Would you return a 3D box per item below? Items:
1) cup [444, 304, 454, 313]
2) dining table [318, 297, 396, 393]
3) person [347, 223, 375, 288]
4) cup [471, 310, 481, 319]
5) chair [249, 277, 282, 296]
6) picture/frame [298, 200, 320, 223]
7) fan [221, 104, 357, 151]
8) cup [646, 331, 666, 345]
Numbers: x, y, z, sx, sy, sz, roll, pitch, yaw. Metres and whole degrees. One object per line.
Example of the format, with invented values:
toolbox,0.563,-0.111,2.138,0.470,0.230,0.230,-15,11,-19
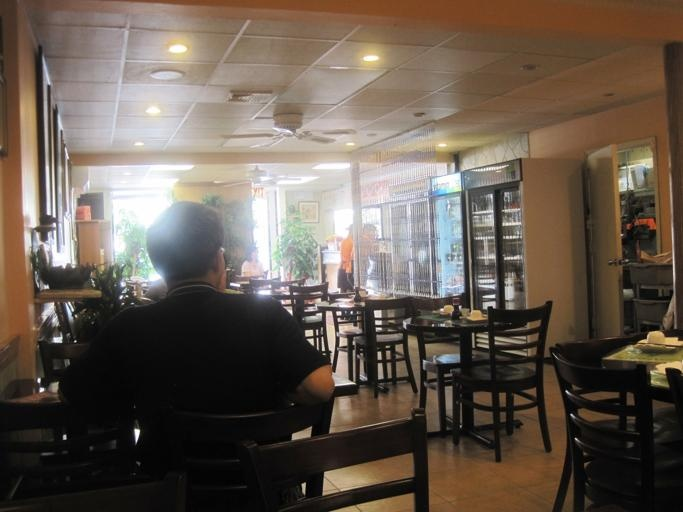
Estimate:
cup,0.953,0.466,5.038,0.062,0.048,0.062,-7,17,2
dining table,0.165,1.026,6.878,1.040,0.980,0.968,0,-1,-27
person,0.308,-0.011,9.827,0.384,1.091,1.106,-4,4,-9
cup,1.137,0.487,4.762,0.070,0.050,0.067,1,5,0
chair,-1.130,0.443,8.345,0.377,0.451,0.338,0,4,-4
picture/frame,-1.003,-1.344,16.556,0.828,0.769,0.059,-6,0,-33
fan,-0.678,-1.628,7.476,1.743,0.379,1.857,-4,3,-9
cup,1.826,0.462,3.287,0.083,0.074,0.082,-5,8,1
